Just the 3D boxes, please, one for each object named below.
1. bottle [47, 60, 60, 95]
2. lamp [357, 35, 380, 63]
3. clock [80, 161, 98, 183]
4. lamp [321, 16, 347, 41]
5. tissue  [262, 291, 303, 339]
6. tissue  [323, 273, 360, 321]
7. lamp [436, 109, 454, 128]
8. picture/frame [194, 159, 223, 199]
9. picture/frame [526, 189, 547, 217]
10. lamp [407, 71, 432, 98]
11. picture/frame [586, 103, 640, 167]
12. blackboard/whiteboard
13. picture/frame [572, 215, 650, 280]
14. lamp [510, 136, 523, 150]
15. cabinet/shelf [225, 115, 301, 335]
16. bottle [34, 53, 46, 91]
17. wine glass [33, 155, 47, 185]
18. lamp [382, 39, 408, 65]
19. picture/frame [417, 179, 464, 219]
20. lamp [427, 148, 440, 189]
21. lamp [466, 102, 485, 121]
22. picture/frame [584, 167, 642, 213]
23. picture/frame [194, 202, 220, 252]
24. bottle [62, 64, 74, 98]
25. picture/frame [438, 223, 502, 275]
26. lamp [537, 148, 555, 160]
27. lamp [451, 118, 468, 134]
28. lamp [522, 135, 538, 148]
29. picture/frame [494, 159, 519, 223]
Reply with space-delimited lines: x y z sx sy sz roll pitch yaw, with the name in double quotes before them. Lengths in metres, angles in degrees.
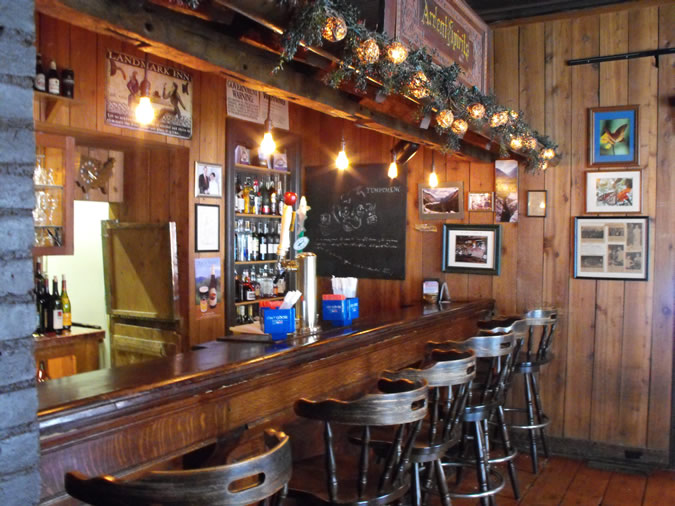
"bottle" -1.806 -1.109 3.611 0.075 0.246 0.151 0 2 -26
"lamp" 0.126 -0.873 2.447 0.092 0.082 0.107 2 31 3
"clock" -1.968 -0.638 4.492 0.022 0.184 0.144 2 2 39
"lamp" -0.017 -0.876 2.261 0.085 0.100 0.081 -11 10 -29
"tissue " -0.339 0.341 3.317 0.242 0.288 0.247 7 16 23
"tissue " 0.025 0.322 3.751 0.194 0.295 0.234 -2 1 15
"lamp" 0.611 -0.767 3.261 0.088 0.099 0.097 1 10 2
"picture/frame" -1.052 -0.592 4.658 0.386 0.295 0.016 5 4 44
"picture/frame" 1.747 -0.434 4.977 0.231 0.344 0.034 1 0 22
"lamp" 0.407 -0.847 2.872 0.106 0.114 0.134 1 2 20
"picture/frame" 2.316 -0.964 4.771 0.369 0.524 0.039 2 -17 19
"blackboard/whiteboard" 0.207 -0.303 5.496 1.127 1.241 0.064 1 1 32
"picture/frame" 2.312 -0.046 4.749 0.511 0.539 0.027 1 0 25
"lamp" 1.312 -0.803 4.159 0.086 0.090 0.030 -15 -4 0
"cabinet/shelf" -0.721 -0.135 5.382 0.705 1.998 0.224 -3 9 -21
"bottle" -1.851 -1.109 3.534 0.060 0.259 0.189 0 2 -22
"wine glass" -1.925 -0.532 3.667 0.040 0.204 0.066 2 2 36
"lamp" 0.271 -0.912 2.607 0.116 0.096 0.072 0 2 -12
"picture/frame" 0.967 -0.496 5.272 0.357 0.314 0.028 1 1 24
"lamp" 0.869 -0.777 5.192 0.105 0.342 0.316 1 2 9
"lamp" 0.831 -0.841 3.417 0.094 0.074 0.097 -3 5 -26
"picture/frame" 2.323 -0.524 4.752 0.367 0.360 0.038 2 0 25
"picture/frame" -1.067 -0.204 4.667 0.013 0.394 0.338 3 4 23
"bottle" -1.754 -1.094 3.680 0.071 0.205 0.090 0 2 -27
"picture/frame" 1.225 -0.037 5.164 0.439 0.444 0.034 3 1 25
"lamp" 1.750 -0.813 4.724 0.074 0.097 0.209 2 2 44
"lamp" 0.737 -0.761 3.438 0.074 0.088 0.089 3 7 17
"lamp" 1.450 -0.839 4.315 0.057 0.104 0.103 -8 -8 -24
"picture/frame" 1.503 -0.566 5.077 0.212 0.655 0.032 1 47 16
